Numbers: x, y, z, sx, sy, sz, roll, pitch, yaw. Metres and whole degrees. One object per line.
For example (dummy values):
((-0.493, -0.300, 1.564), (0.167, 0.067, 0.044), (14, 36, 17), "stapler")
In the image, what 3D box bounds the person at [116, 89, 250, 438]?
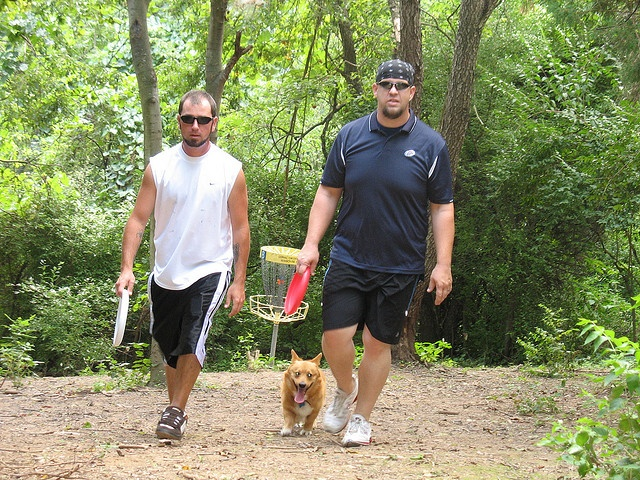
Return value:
((-1.172, 0.189, 5.236), (1.053, 2.998, 0.305), (3, -5, -1), "person")

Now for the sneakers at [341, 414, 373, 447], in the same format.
((0.337, 1.642, 5.206), (0.205, 0.225, 0.535), (-7, -9, 19), "sneakers")

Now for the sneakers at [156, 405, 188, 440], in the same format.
((-1.247, 1.547, 5.070), (0.238, 0.290, 0.160), (4, -5, -14), "sneakers")

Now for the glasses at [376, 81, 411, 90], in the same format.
((0.627, -1.315, 5.110), (0.253, 0.085, 0.046), (1, -5, 10), "glasses")

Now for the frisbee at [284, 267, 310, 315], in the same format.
((-0.203, 0.455, 5.245), (0.091, 0.377, 0.298), (23, -12, -24), "frisbee")

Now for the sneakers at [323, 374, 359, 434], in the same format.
((0.187, 1.517, 5.402), (0.210, 0.599, 0.262), (17, -5, 24), "sneakers")

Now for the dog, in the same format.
((-0.146, 1.530, 5.959), (0.421, 0.778, 1.043), (4, -8, 5), "dog")
